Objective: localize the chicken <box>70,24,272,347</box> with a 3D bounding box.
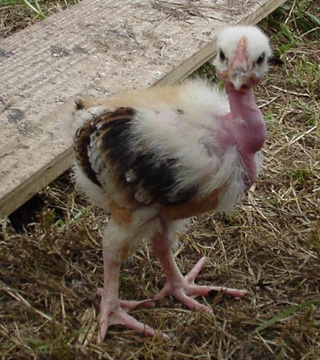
[{"bbox_3d":[0.037,0.021,1.344,0.701,0.742,0.802,3,-2,-34],"label":"chicken"}]
